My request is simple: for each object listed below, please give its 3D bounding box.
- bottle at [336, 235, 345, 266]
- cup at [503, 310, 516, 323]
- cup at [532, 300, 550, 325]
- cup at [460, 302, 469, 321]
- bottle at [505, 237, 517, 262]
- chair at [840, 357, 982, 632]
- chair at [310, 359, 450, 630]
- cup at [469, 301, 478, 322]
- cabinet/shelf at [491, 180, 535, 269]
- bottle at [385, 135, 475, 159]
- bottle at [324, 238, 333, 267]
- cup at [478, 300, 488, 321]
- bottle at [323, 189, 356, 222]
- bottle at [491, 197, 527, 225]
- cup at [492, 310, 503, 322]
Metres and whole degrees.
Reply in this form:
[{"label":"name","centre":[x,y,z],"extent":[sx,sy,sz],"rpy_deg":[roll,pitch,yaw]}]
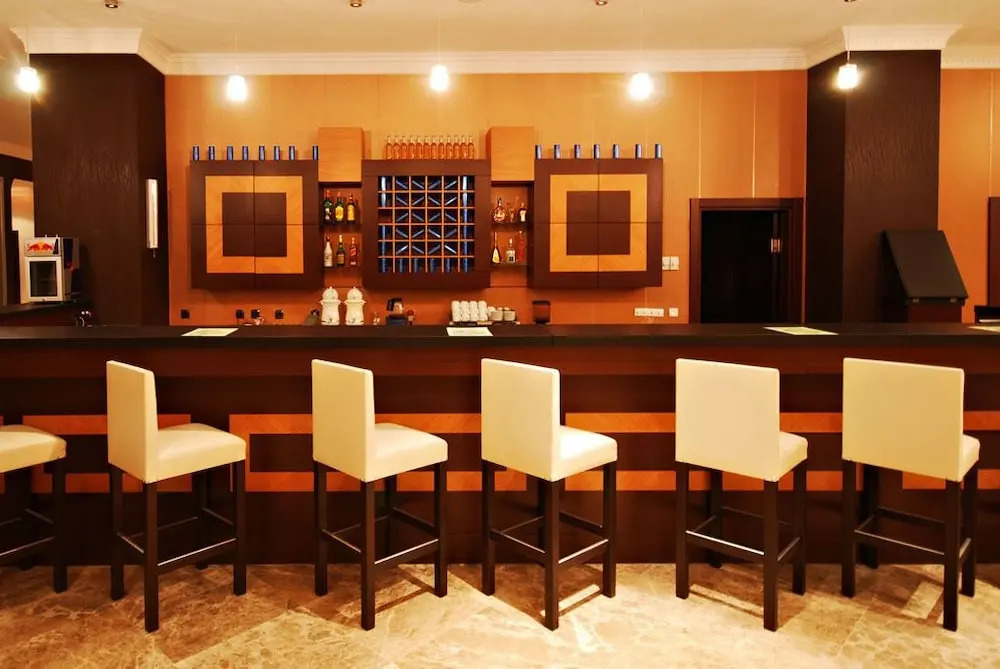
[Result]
[{"label":"bottle","centre":[-1.691,-0.880,9.177],"extent":[0.105,0.312,0.181],"rpy_deg":[-2,8,-10]},{"label":"cup","centre":[0.088,-0.189,9.157],"extent":[0.116,0.115,0.119],"rpy_deg":[1,3,0]},{"label":"cup","centre":[0.423,-0.214,9.074],"extent":[0.218,0.260,0.215],"rpy_deg":[2,3,0]},{"label":"cup","centre":[-0.376,-0.231,9.032],"extent":[0.103,0.187,0.091],"rpy_deg":[-1,8,-3]},{"label":"bottle","centre":[0.098,-0.876,9.231],"extent":[0.115,0.253,0.115],"rpy_deg":[0,8,0]},{"label":"chair","centre":[2.896,1.060,6.221],"extent":[0.932,1.799,0.659],"rpy_deg":[4,9,30]},{"label":"chair","centre":[-0.885,1.080,6.302],"extent":[0.816,1.787,0.804],"rpy_deg":[-5,9,-35]},{"label":"cup","centre":[-0.285,-0.233,9.053],"extent":[0.082,0.185,0.099],"rpy_deg":[-1,8,-3]},{"label":"cabinet/shelf","centre":[0.089,-1.135,9.135],"extent":[0.468,0.930,0.296],"rpy_deg":[0,1,-11]},{"label":"bottle","centre":[-0.759,-1.938,9.037],"extent":[0.893,0.220,0.261],"rpy_deg":[-2,8,-8]},{"label":"bottle","centre":[-1.829,-0.854,9.177],"extent":[0.088,0.283,0.144],"rpy_deg":[-2,8,-8]},{"label":"cup","centre":[-0.198,-0.238,9.071],"extent":[0.092,0.199,0.135],"rpy_deg":[-1,8,-3]},{"label":"bottle","centre":[-1.700,-1.340,9.150],"extent":[0.376,0.356,0.218],"rpy_deg":[-2,8,-10]},{"label":"bottle","centre":[0.073,-1.289,9.165],"extent":[0.301,0.261,0.102],"rpy_deg":[-1,10,-8]},{"label":"cup","centre":[-0.041,-0.189,9.099],"extent":[0.103,0.099,0.105],"rpy_deg":[2,6,0]}]
